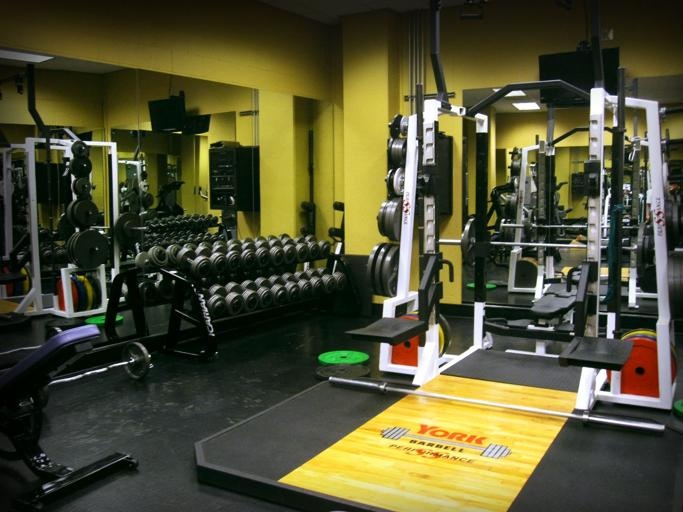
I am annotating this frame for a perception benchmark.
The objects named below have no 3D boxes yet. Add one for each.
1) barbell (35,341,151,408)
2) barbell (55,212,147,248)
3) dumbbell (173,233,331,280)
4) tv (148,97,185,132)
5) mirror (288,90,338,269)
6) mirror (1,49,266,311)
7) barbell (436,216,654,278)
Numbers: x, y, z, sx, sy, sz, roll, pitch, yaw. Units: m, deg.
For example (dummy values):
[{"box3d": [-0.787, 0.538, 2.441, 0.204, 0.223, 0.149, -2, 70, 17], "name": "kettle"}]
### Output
[{"box3d": [-1.764, 0.843, 4.035, 0.292, 0.284, 0.877, 11, 19, 44], "name": "barbell"}, {"box3d": [-2.421, -0.278, 5.350, 0.474, 0.314, 0.690, 4, 7, 28], "name": "barbell"}, {"box3d": [-0.877, 0.003, 5.388, 0.297, 0.420, 1.737, 7, 13, 43], "name": "dumbbell"}, {"box3d": [-1.669, -1.382, 5.266, 0.431, 0.288, 0.429, -4, 6, -19], "name": "tv"}, {"box3d": [-0.349, -0.972, 6.239, 0.331, 2.142, 0.126, 4, 10, 20], "name": "mirror"}, {"box3d": [-2.017, -0.792, 7.042, 4.025, 3.252, 1.153, -7, 12, -38], "name": "mirror"}, {"box3d": [1.703, 0.190, 4.781, 1.501, 0.330, 0.386, 5, -24, 18], "name": "barbell"}]
